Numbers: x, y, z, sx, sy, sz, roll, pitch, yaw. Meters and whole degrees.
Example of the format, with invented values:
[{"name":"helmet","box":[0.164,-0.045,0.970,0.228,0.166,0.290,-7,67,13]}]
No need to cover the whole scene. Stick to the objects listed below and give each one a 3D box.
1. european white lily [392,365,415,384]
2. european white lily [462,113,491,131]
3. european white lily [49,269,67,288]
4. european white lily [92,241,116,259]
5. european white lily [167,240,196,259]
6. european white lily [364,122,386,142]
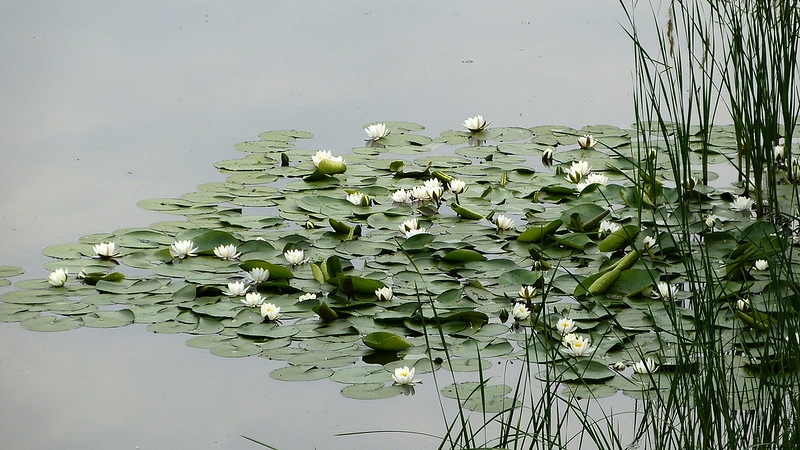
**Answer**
[{"name":"european white lily","box":[0.024,0.656,4.008,0.084,0.035,0.090,-7,10,-32]},{"name":"european white lily","box":[0.494,-0.660,5.848,0.114,0.060,0.141,-32,15,-20]},{"name":"european white lily","box":[-1.689,0.255,4.496,0.093,0.076,0.104,-3,16,-19]},{"name":"european white lily","box":[-1.509,0.121,4.669,0.113,0.079,0.107,-3,16,-20]},{"name":"european white lily","box":[-1.107,0.120,4.655,0.136,0.082,0.095,0,15,-10]},{"name":"european white lily","box":[-0.165,-0.600,5.834,0.180,0.100,0.124,7,15,16]}]
